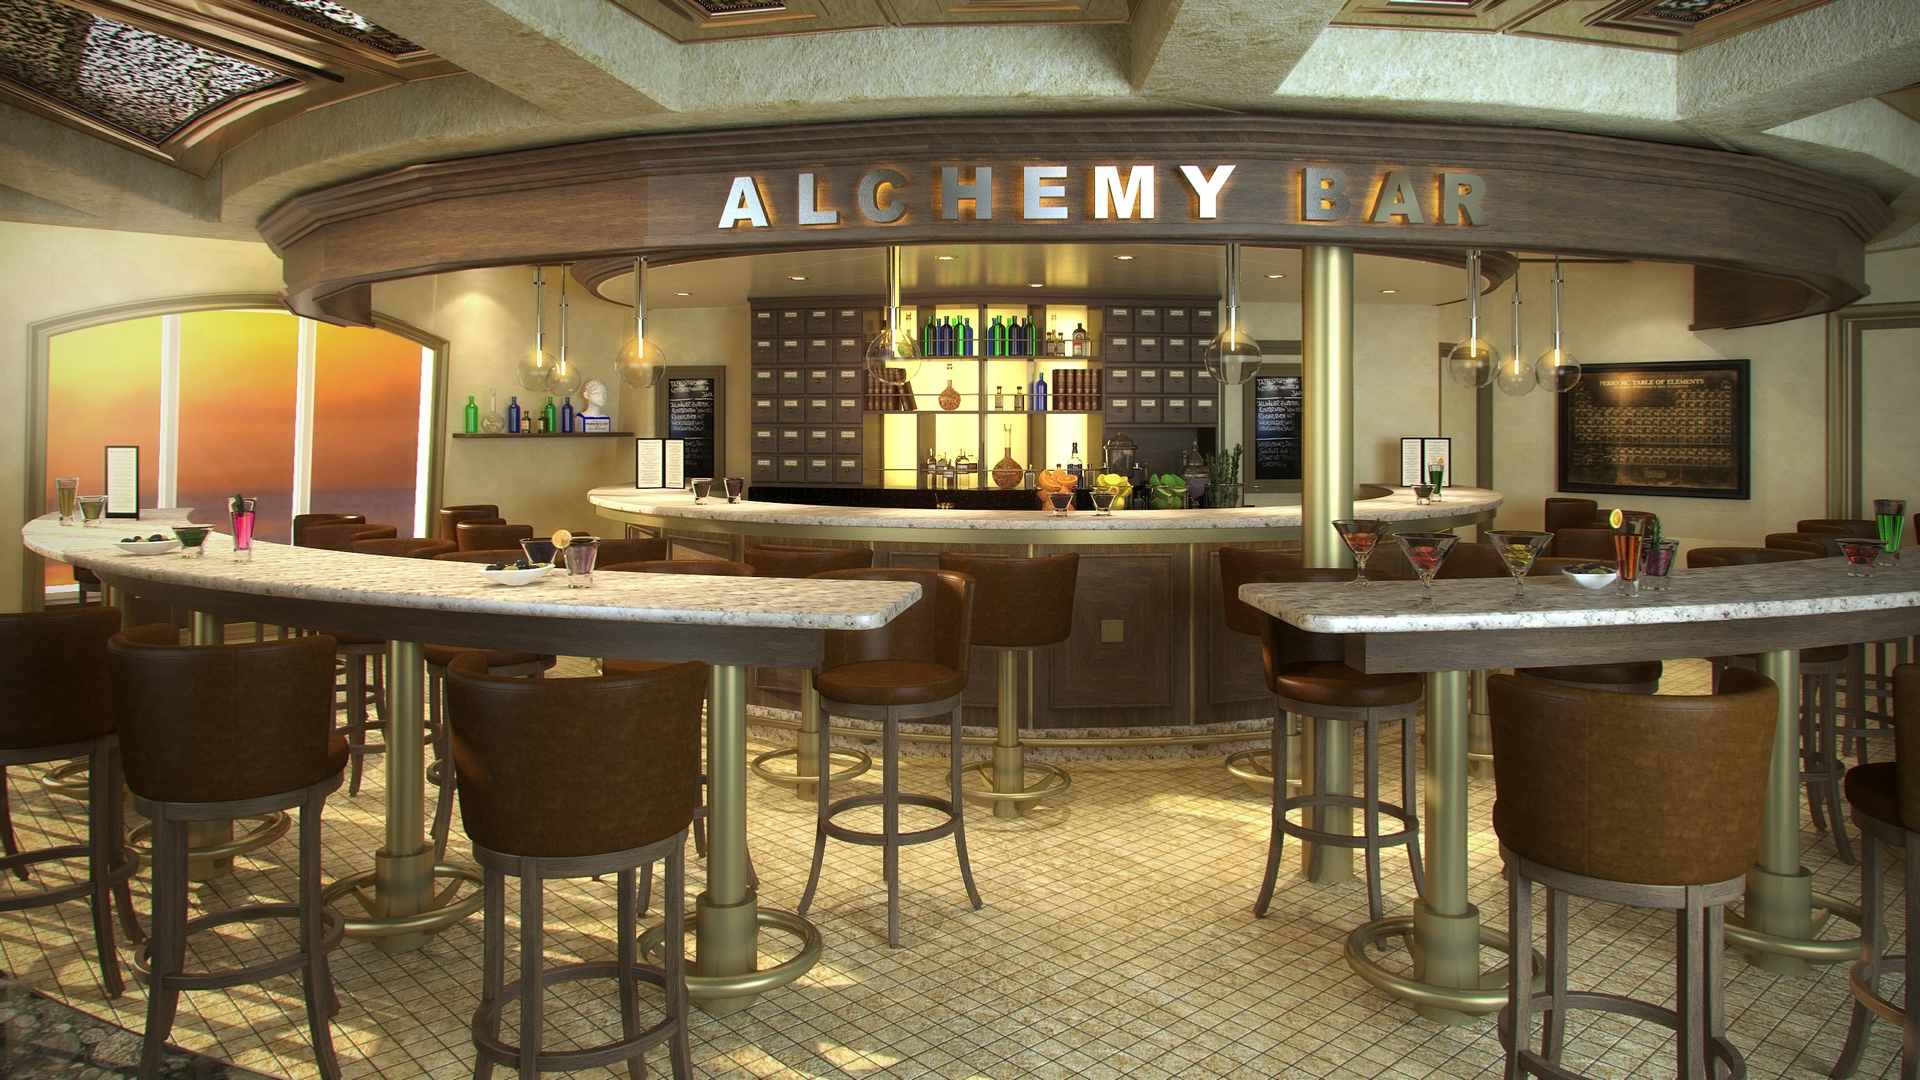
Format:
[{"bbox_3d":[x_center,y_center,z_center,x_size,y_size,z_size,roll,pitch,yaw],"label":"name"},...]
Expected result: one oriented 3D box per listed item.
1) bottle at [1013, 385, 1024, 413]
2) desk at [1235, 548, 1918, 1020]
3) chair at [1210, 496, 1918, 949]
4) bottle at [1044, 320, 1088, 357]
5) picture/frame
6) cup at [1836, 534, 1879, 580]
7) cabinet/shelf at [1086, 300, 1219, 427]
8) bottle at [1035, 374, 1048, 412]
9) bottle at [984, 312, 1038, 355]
[{"bbox_3d":[0.626,-1.433,12.738,0.144,0.280,0.274,-1,4,-1],"label":"bottle"},{"bbox_3d":[2.990,1.216,6.055,3.168,1.237,0.775,-2,8,-16],"label":"desk"},{"bbox_3d":[3.005,0.988,6.343,3.484,1.310,0.970,0,0,-18],"label":"chair"},{"bbox_3d":[1.077,-2.003,12.624,0.578,0.339,0.193,1,7,9],"label":"bottle"},{"bbox_3d":[6.755,-1.068,12.043,0.124,1.092,1.781,-3,6,-43],"label":"picture/frame"},{"bbox_3d":[4.605,0.084,6.412,0.253,0.146,0.254,1,2,0],"label":"cup"},{"bbox_3d":[1.916,-1.773,12.513,1.937,1.317,0.533,1,-2,-8],"label":"cabinet/shelf"},{"bbox_3d":[0.846,-1.465,12.685,0.126,0.345,0.183,0,4,15],"label":"bottle"},{"bbox_3d":[0.520,-2.052,12.603,0.618,0.345,0.171,0,7,-2],"label":"bottle"}]
